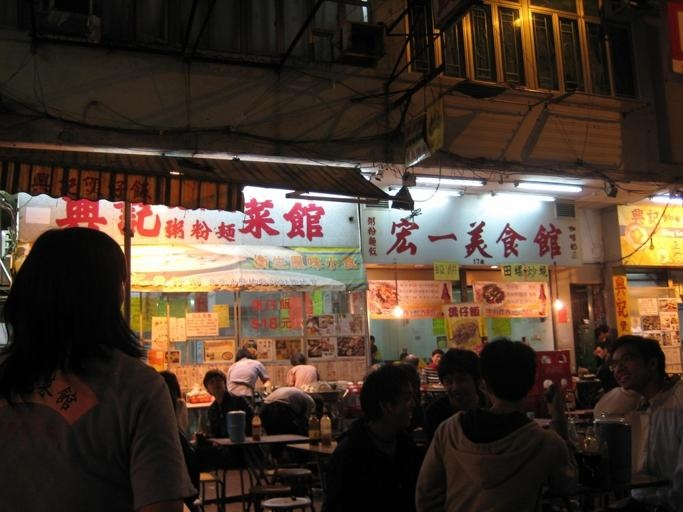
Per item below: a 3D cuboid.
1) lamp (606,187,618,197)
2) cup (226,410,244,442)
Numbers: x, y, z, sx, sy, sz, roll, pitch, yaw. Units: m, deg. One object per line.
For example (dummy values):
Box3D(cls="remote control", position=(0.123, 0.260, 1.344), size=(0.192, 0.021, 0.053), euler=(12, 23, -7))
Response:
Box3D(cls="lamp", position=(4.546, -1.089, 11.717), size=(0.248, 0.252, 0.076), euler=(-1, 2, -34))
Box3D(cls="cup", position=(-1.129, 1.821, 7.386), size=(0.281, 0.367, 0.254), euler=(2, -11, -15))
